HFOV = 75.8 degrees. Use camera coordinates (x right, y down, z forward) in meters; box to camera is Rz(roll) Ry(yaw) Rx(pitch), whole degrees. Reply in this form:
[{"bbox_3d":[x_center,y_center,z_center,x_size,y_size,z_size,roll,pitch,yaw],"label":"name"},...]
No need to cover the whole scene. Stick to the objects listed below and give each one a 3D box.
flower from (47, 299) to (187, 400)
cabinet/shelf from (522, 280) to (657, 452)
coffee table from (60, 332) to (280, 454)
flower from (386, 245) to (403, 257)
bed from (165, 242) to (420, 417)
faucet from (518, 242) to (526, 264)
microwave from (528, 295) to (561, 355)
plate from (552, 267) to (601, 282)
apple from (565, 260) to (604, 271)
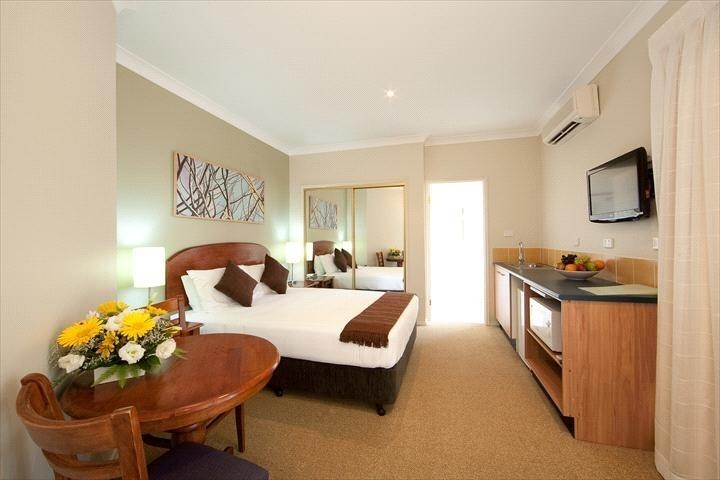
[{"bbox_3d":[-1.629,0.671,3.018,0.641,0.354,0.640,0,5,17],"label":"flower"},{"bbox_3d":[2.004,1.024,4.301,0.905,1.343,1.799,0,-1,14],"label":"cabinet/shelf"},{"bbox_3d":[-1.085,0.931,3.003,0.917,0.596,0.915,2,7,0],"label":"coffee table"},{"bbox_3d":[0.494,0.165,6.477,0.136,0.096,0.141,1,6,43],"label":"flower"},{"bbox_3d":[-0.622,0.826,4.683,1.965,1.212,1.613,2,4,10],"label":"bed"},{"bbox_3d":[2.039,0.161,5.804,0.095,0.270,0.450,0,2,19],"label":"faucet"},{"bbox_3d":[1.638,0.732,4.087,0.308,0.330,0.517,0,5,7],"label":"microwave"},{"bbox_3d":[2.042,0.326,4.331,0.337,0.096,0.257,0,1,30],"label":"plate"},{"bbox_3d":[2.109,0.252,4.296,0.171,0.074,0.174,1,-2,14],"label":"apple"}]
